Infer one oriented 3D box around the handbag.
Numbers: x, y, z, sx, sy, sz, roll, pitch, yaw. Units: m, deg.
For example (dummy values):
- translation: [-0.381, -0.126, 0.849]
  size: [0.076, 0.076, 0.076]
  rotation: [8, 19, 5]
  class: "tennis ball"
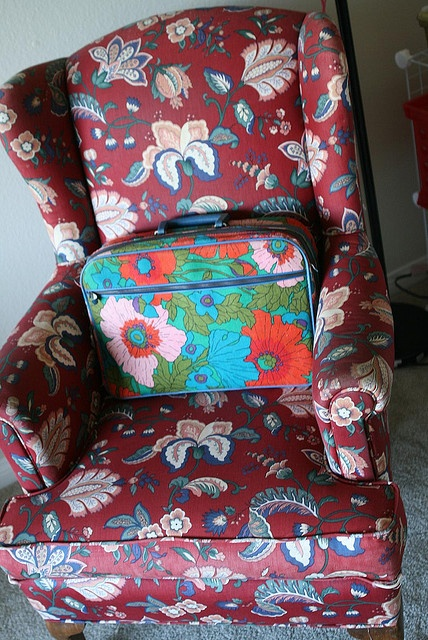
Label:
- translation: [-0.017, -0.010, 0.918]
  size: [0.336, 0.259, 0.117]
  rotation: [-2, 29, 5]
  class: "handbag"
